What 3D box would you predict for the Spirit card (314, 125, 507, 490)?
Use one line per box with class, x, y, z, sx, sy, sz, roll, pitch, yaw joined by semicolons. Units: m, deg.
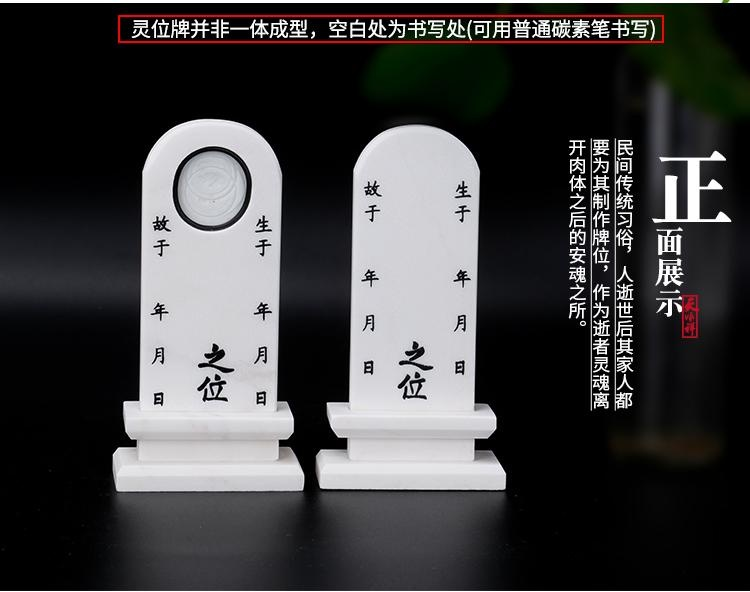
Spirit card;0.181;0.066;4.396;0.901;1.789;0.324;1;11;-4
